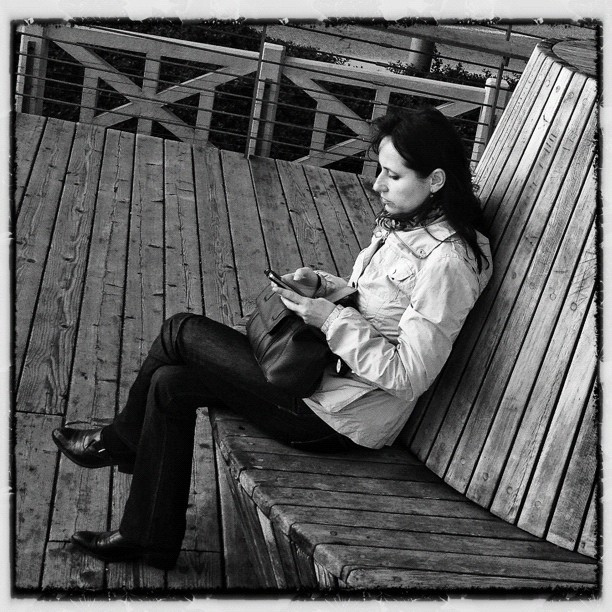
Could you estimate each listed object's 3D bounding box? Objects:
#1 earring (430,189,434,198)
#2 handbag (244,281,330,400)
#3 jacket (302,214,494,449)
[{"bbox_3d":[0.332,-0.301,1.672,0.004,0.017,0.005,12,12,9],"label":"earring"},{"bbox_3d":[-0.050,0.064,1.761,0.189,0.212,0.383,17,16,-19],"label":"handbag"},{"bbox_3d":[0.225,0.007,1.762,0.366,0.579,0.618,12,22,-12],"label":"jacket"}]
